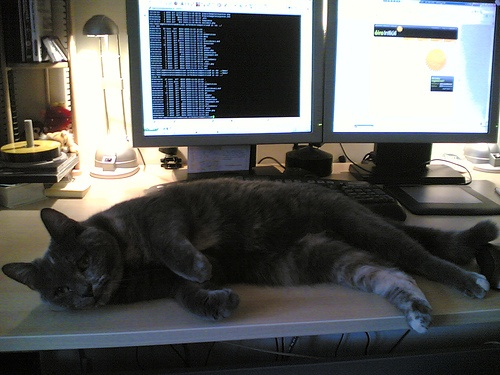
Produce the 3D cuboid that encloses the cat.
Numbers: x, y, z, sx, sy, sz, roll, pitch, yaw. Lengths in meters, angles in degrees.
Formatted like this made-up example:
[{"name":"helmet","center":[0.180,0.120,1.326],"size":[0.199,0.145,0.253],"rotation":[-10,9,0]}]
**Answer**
[{"name":"cat","center":[0.000,0.159,1.027],"size":[1.099,0.243,0.369],"rotation":[-4,38,-9]}]
